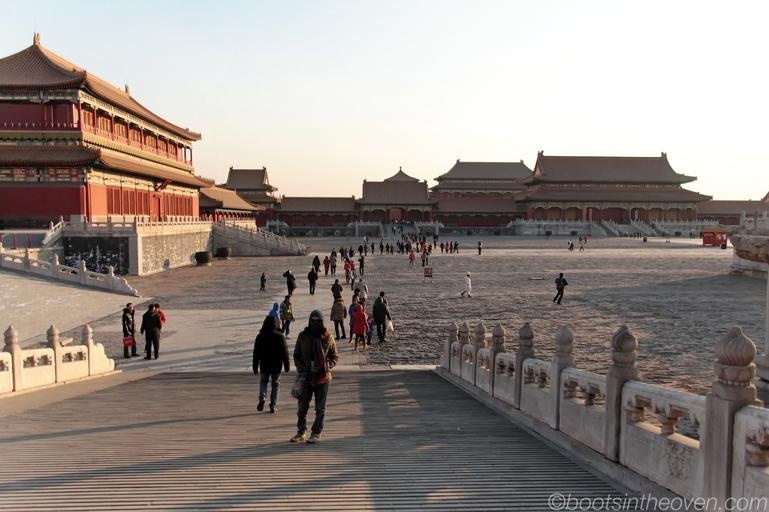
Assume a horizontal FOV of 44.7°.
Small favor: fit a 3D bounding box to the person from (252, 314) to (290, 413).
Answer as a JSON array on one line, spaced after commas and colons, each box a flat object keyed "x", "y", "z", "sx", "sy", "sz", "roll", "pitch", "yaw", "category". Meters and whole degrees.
[{"x": -3.273, "y": 3.044, "z": 27.230, "sx": 0.975, "sy": 2.725, "sz": 1.529, "roll": 0, "pitch": 0, "yaw": -7, "category": "person"}]

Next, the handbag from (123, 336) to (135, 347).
[{"x": -8.668, "y": 2.902, "z": 31.968, "sx": 0.399, "sy": 0.391, "sz": 0.173, "roll": -13, "pitch": -12, "yaw": 35, "category": "handbag"}]

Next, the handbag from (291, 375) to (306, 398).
[{"x": -2.323, "y": 3.509, "z": 25.395, "sx": 0.290, "sy": 0.637, "sz": 0.251, "roll": 0, "pitch": 0, "yaw": 39, "category": "handbag"}]
